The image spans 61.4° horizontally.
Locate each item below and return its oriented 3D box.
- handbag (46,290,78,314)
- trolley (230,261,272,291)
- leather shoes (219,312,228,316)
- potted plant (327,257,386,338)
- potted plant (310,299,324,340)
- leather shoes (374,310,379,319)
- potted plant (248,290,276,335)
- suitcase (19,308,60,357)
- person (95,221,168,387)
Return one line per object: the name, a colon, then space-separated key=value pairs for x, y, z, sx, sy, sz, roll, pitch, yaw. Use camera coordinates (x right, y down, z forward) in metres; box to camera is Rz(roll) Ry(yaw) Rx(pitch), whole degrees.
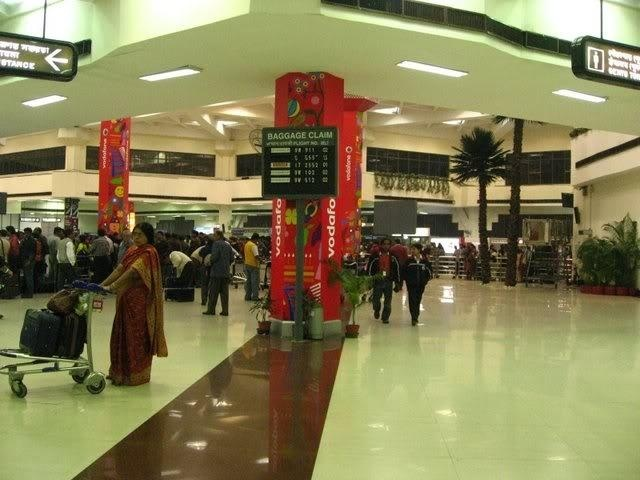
handbag: x=-2.931 y=0.703 z=6.123 sx=0.297 sy=0.220 sz=0.280 roll=2 pitch=1 yaw=44
trolley: x=-2.430 y=1.437 z=19.334 sx=1.599 sy=1.091 sz=1.135 roll=2 pitch=1 yaw=6
leather shoes: x=-2.106 y=1.614 z=11.733 sx=0.180 sy=0.065 sz=0.164 roll=1 pitch=1 yaw=2
potted plant: x=0.622 y=1.018 z=9.757 sx=0.788 sy=1.463 sz=1.146 roll=5 pitch=-15 yaw=-6
potted plant: x=-0.078 y=1.378 z=9.160 sx=0.237 sy=0.582 sz=0.140 roll=1 pitch=0 yaw=-11
leather shoes: x=1.257 y=1.663 z=11.955 sx=0.092 sy=0.184 sz=0.112 roll=-1 pitch=7 yaw=6
potted plant: x=-1.022 y=1.329 z=9.662 sx=0.409 sy=0.691 sz=0.379 roll=2 pitch=-17 yaw=-18
suitcase: x=-3.168 y=1.036 z=6.092 sx=0.483 sy=0.511 sz=0.266 roll=6 pitch=-9 yaw=39
person: x=-2.163 y=0.762 z=6.373 sx=0.665 sy=1.607 sz=0.338 roll=1 pitch=0 yaw=-22
